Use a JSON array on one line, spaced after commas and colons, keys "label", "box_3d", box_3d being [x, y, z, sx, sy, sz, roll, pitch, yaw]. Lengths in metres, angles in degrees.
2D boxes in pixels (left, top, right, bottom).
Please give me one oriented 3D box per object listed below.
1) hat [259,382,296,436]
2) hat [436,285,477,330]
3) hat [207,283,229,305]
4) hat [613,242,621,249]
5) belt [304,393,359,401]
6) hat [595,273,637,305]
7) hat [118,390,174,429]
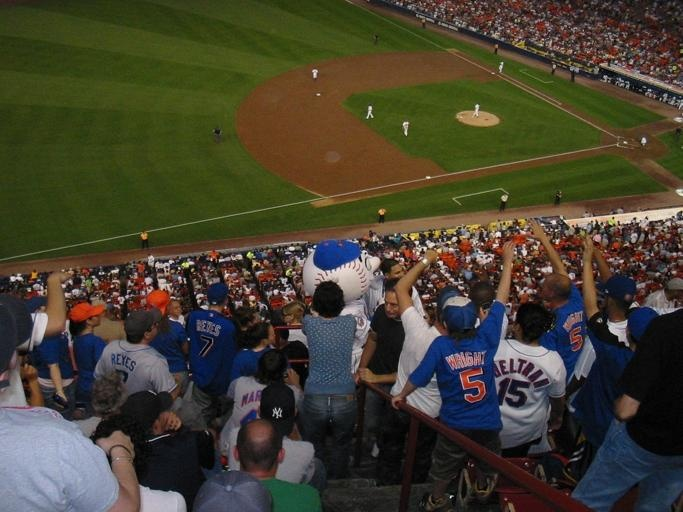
[{"label": "hat", "box_3d": [-0.780, 1.847, 7.294, 0.494, 0.335, 0.663, 5, 8, -6]}, {"label": "hat", "box_3d": [1.396, 0.627, 7.272, 0.421, 0.301, 0.627, -16, 42, -2]}, {"label": "hat", "box_3d": [-2.130, 0.640, 10.389, 0.308, 0.369, 0.217, 3, -19, 0]}, {"label": "hat", "box_3d": [10.386, -0.369, 23.014, 0.303, 0.073, 0.293, -24, 39, -34]}, {"label": "belt", "box_3d": [-0.175, 1.911, 8.177, 0.651, 0.129, 0.114, 2, 24, -3]}, {"label": "hat", "box_3d": [3.865, 0.467, 8.667, 0.421, 0.312, 0.555, -9, 30, -15]}, {"label": "hat", "box_3d": [-2.176, 1.753, 6.875, 0.559, 0.267, 0.355, -22, 39, -32]}]
